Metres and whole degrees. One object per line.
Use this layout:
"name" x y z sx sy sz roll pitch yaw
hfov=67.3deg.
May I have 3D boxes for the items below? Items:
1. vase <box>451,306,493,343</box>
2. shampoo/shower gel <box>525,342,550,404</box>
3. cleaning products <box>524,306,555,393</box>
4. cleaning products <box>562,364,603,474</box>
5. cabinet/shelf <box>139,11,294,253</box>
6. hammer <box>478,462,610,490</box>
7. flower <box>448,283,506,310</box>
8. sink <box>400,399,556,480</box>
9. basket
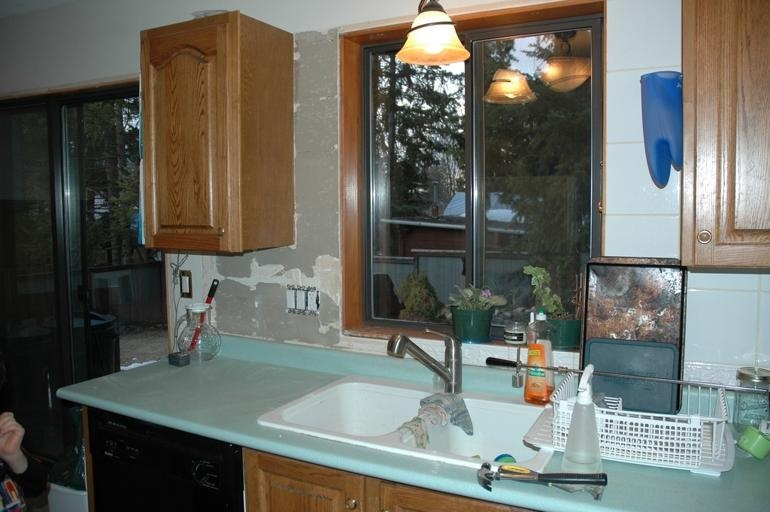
"vase" 0.411 0.322 2.783 0.177 0.130 0.168 1 -1 -34
"shampoo/shower gel" 0.644 0.493 2.439 0.118 0.267 0.187 -1 2 14
"cleaning products" 0.643 0.428 2.522 0.145 0.333 0.167 1 1 25
"cleaning products" 0.709 0.564 2.019 0.177 0.367 0.094 -3 2 -24
"cabinet/shelf" -0.821 -0.573 2.831 0.773 1.094 0.333 -2 2 -9
"hammer" 0.531 0.746 1.977 0.362 0.050 0.153 -2 -3 17
"flower" 0.455 0.201 2.836 0.270 0.112 0.253 -1 2 5
"sink" 0.312 0.717 2.368 0.472 0.243 0.703 1 4 22
"basket" 0.925 0.635 2.116 0.495 0.196 0.369 -1 1 26
